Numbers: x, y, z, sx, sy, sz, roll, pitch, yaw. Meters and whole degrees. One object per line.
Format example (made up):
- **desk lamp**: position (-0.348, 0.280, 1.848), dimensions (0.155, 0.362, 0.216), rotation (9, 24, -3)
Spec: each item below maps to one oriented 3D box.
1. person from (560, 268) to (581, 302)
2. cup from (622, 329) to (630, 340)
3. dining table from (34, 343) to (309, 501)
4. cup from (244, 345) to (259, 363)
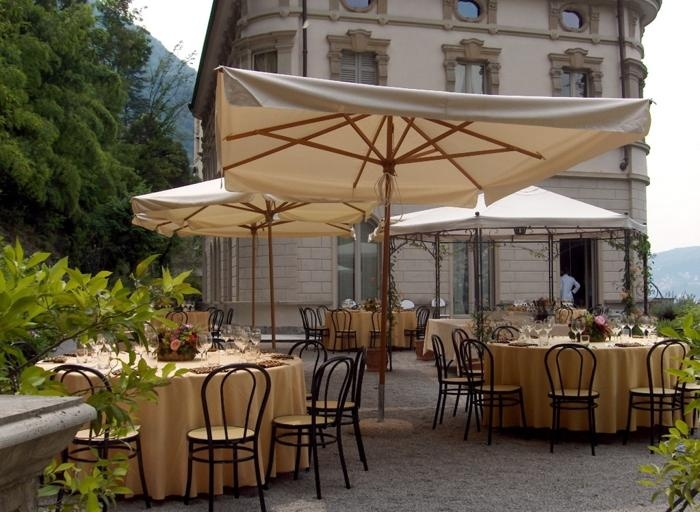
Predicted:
- **person**: position (5.437, 0.779, 18.277), dimensions (0.563, 0.815, 0.258), rotation (-3, 37, 12)
- **cup**: position (3.256, 0.912, 8.598), dimensions (0.090, 0.167, 0.088), rotation (0, -2, 0)
- **dining table**: position (-1.272, 1.274, 5.390), dimensions (1.531, 0.627, 1.544), rotation (0, -2, 5)
- **cup**: position (-0.943, 0.938, 6.966), dimensions (0.125, 0.122, 0.128), rotation (0, -10, 0)
